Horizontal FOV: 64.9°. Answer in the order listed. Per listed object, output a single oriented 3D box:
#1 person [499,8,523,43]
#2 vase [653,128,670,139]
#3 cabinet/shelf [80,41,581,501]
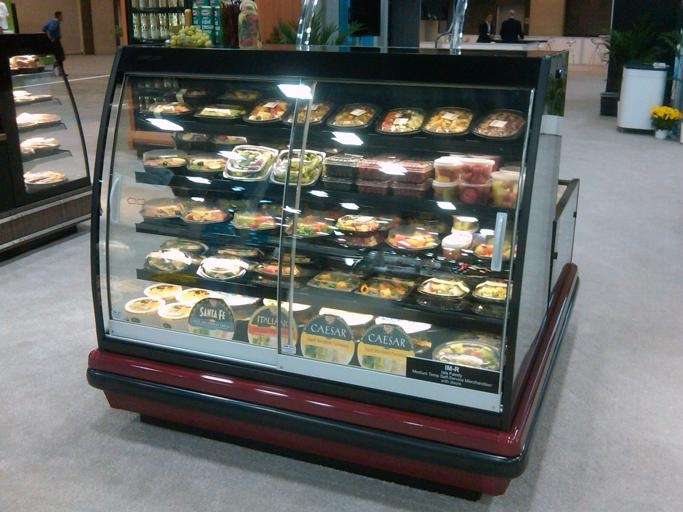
[{"bbox_3d":[5.695,-7.539,17.887,0.635,0.808,0.807,6,24,14],"label":"person"},{"bbox_3d":[5.527,-2.116,9.246,0.234,0.115,0.220,3,8,25],"label":"vase"},{"bbox_3d":[0.021,-0.156,3.375,2.949,1.656,2.500,7,22,21],"label":"cabinet/shelf"}]
